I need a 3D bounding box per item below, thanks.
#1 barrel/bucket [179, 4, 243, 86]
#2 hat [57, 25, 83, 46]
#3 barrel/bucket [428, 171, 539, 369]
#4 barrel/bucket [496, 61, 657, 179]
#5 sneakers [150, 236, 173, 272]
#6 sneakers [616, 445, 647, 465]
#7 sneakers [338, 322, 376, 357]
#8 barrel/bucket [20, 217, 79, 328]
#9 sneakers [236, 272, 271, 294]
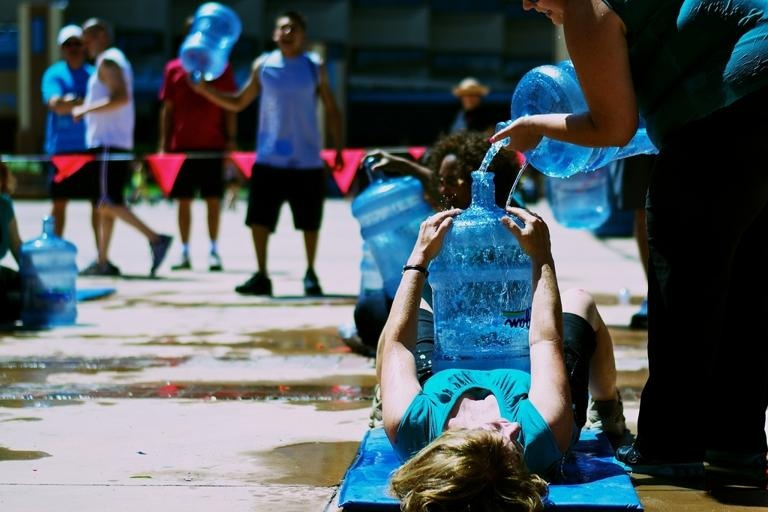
[{"bbox_3d":[-1.281,-1.588,11.640,0.429,0.580,0.303,2,4,-12],"label":"barrel/bucket"},{"bbox_3d":[-2.322,-1.641,11.688,0.171,0.159,0.271,2,3,-13],"label":"hat"},{"bbox_3d":[0.575,0.133,9.469,0.641,1.280,0.633,1,-7,0],"label":"barrel/bucket"},{"bbox_3d":[1.162,-0.797,9.384,0.493,0.527,0.876,14,34,32],"label":"barrel/bucket"},{"bbox_3d":[-1.719,-0.036,12.118,0.136,0.344,0.113,8,22,-10],"label":"sneakers"},{"bbox_3d":[1.395,1.159,9.038,0.164,0.080,0.080,21,25,8],"label":"sneakers"},{"bbox_3d":[-0.197,0.579,10.728,0.087,0.208,0.304,-1,5,-42],"label":"sneakers"},{"bbox_3d":[-2.327,0.119,10.990,0.499,0.765,0.511,0,-4,0],"label":"barrel/bucket"},{"bbox_3d":[-0.938,0.214,11.404,0.197,0.157,0.514,3,3,12],"label":"sneakers"}]
